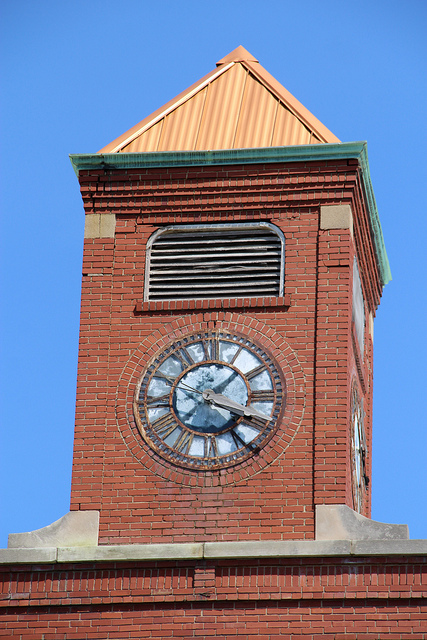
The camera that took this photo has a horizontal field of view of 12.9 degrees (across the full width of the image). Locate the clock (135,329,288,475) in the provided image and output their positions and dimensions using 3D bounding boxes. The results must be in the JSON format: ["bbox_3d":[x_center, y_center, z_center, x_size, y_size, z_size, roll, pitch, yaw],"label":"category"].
[{"bbox_3d":[0.011,1.283,27.749,1.827,2.218,0.180,-4,-34,3],"label":"clock"}]
